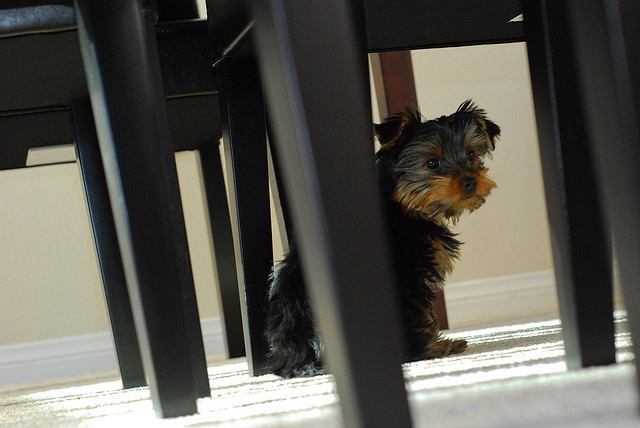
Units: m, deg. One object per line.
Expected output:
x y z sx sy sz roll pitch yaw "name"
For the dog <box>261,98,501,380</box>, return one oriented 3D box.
0.157 0.122 1.825 0.781 0.623 0.404 -25 -14 29 "dog"
